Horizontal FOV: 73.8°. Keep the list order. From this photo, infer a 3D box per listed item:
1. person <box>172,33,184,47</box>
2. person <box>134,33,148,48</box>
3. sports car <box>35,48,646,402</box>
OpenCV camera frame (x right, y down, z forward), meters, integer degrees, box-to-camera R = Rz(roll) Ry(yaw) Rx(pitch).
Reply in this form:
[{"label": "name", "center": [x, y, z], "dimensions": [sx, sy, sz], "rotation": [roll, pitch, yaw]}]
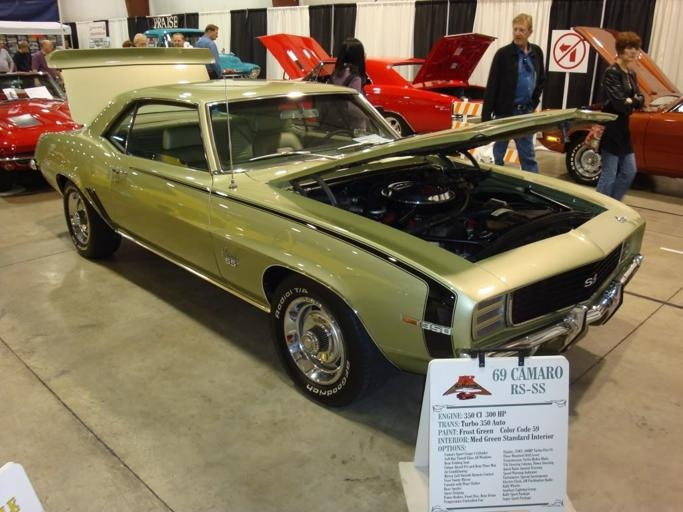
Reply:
[{"label": "person", "center": [-3.293, -4.333, 9.078], "dimensions": [0.191, 0.227, 0.844], "rotation": [-7, 22, -15]}, {"label": "person", "center": [-3.627, -3.882, 8.178], "dimensions": [0.219, 0.228, 0.773], "rotation": [-11, 24, -22]}, {"label": "sports car", "center": [-0.633, -0.354, 4.016], "dimensions": [5.194, 1.679, 2.346], "rotation": [21, 33, 34]}]
